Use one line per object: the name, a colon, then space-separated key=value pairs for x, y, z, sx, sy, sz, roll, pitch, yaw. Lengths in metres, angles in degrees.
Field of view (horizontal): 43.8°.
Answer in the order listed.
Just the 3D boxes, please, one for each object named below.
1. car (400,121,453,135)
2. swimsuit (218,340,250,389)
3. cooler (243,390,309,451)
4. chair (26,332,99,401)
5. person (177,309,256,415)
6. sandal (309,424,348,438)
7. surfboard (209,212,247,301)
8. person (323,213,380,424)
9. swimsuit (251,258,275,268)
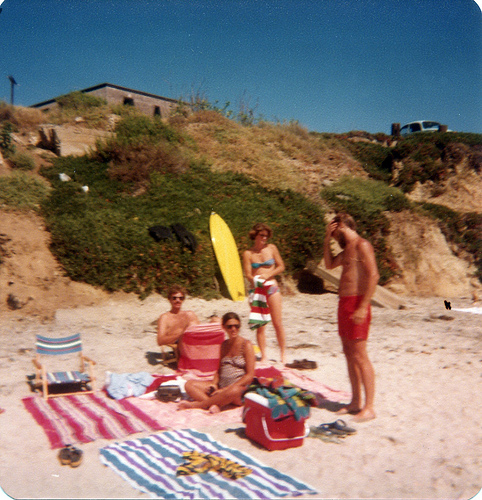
car: x=6.911 y=-4.754 z=23.202 sx=1.392 sy=0.535 sz=2.523 roll=3 pitch=9 yaw=13
swimsuit: x=-0.097 y=1.172 z=6.111 sx=0.322 sy=0.536 sz=0.150 roll=4 pitch=12 yaw=15
cooler: x=0.285 y=1.521 z=5.478 sx=0.526 sy=0.313 sz=0.560 roll=-1 pitch=11 yaw=-33
chair: x=-2.053 y=1.273 z=6.831 sx=0.675 sy=0.484 sz=0.888 roll=1 pitch=8 yaw=-22
person: x=-0.286 y=1.161 z=6.107 sx=1.012 sy=0.839 sz=0.782 roll=-7 pitch=3 yaw=-7
sandal: x=0.802 y=1.677 z=5.559 sx=0.373 sy=0.048 sz=0.144 roll=6 pitch=10 yaw=32
surfboard: x=-0.356 y=0.070 z=12.777 sx=0.599 sy=0.205 sz=2.307 roll=-4 pitch=46 yaw=-21
person: x=1.127 y=0.644 z=5.908 sx=0.486 sy=1.982 sz=0.759 roll=-1 pitch=11 yaw=-9
swimsuit: x=0.272 y=0.165 z=7.661 sx=0.372 sy=0.093 sz=0.088 roll=-8 pitch=-7 yaw=6
